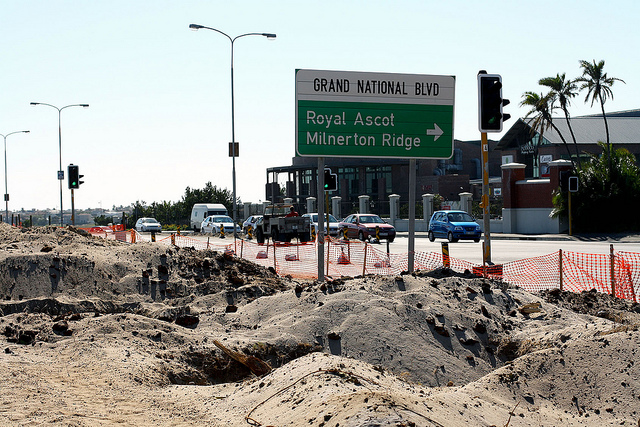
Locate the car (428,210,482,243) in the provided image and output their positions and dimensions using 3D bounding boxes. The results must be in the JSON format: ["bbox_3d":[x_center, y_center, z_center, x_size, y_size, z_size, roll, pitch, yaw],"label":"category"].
[{"bbox_3d":[6.896,0.661,43.507,1.315,1.307,2.511,1,-5,-19],"label":"car"}]

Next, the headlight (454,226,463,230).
[{"bbox_3d":[6.833,0.698,42.399,0.373,0.162,0.051,-2,-3,19],"label":"headlight"}]

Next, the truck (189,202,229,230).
[{"bbox_3d":[-8.063,0.161,62.851,1.509,1.744,2.925,1,-5,-26],"label":"truck"}]

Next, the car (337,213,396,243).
[{"bbox_3d":[2.423,0.708,43.721,1.182,1.081,2.815,2,-3,-21],"label":"car"}]

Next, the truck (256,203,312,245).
[{"bbox_3d":[-1.843,0.559,42.556,1.685,2.119,3.707,-1,-2,-23],"label":"truck"}]

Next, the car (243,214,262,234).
[{"bbox_3d":[-4.032,0.627,53.946,0.891,0.880,2.097,0,-5,-19],"label":"car"}]

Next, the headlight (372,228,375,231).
[{"bbox_3d":[2.665,0.789,42.543,0.111,0.100,0.069,-2,4,3],"label":"headlight"}]

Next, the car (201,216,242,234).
[{"bbox_3d":[-6.607,0.771,57.256,1.295,1.332,6.845,1,-4,-18],"label":"car"}]

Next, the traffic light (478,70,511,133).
[{"bbox_3d":[4.556,-2.829,22.786,0.612,1.659,1.019,0,-12,18],"label":"traffic light"}]

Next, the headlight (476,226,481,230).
[{"bbox_3d":[7.791,0.711,42.387,0.151,0.272,0.216,4,-3,-7],"label":"headlight"}]
